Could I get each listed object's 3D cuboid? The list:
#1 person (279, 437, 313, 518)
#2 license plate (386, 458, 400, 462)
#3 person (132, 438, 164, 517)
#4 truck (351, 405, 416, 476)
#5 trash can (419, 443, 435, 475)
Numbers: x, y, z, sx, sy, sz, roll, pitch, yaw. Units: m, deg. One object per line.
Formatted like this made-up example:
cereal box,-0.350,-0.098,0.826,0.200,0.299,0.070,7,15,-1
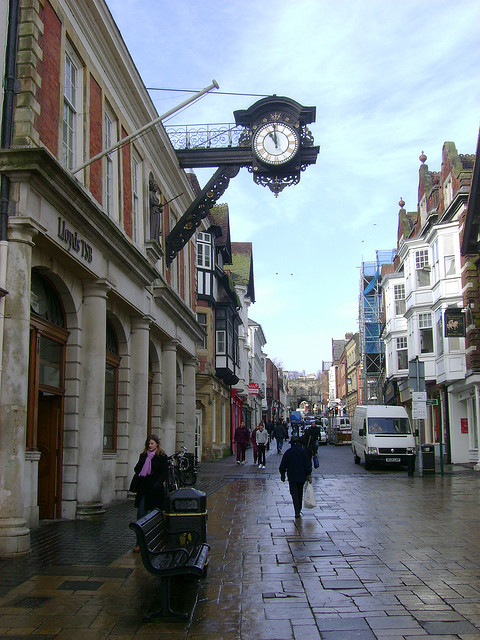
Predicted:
person,1.050,2.996,11.497,0.575,1.276,0.632,-3,-11,3
license plate,6.032,5.465,24.095,0.514,0.180,0.073,-6,-11,7
person,-1.236,2.062,8.163,0.402,1.005,0.432,-1,-11,-9
truck,6.024,4.926,26.076,1.537,2.393,4.050,0,-15,2
trash can,6.830,4.984,22.072,0.484,1.069,0.598,-3,-11,1
